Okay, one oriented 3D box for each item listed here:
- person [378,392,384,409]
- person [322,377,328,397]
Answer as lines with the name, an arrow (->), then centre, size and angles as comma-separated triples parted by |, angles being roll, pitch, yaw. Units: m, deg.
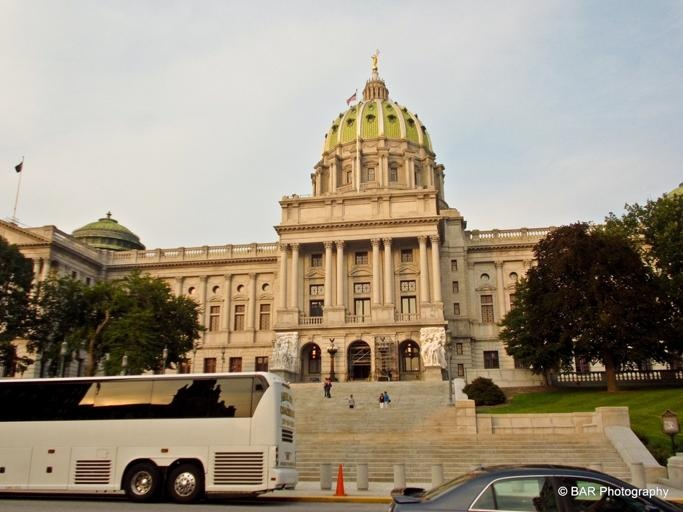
person -> 2.749, 9.764, 39.885 | 0.317, 0.771, 0.715 | -7, -2, 3
person -> -1.070, 9.813, 43.974 | 0.460, 1.040, 1.793 | -6, -2, -2
